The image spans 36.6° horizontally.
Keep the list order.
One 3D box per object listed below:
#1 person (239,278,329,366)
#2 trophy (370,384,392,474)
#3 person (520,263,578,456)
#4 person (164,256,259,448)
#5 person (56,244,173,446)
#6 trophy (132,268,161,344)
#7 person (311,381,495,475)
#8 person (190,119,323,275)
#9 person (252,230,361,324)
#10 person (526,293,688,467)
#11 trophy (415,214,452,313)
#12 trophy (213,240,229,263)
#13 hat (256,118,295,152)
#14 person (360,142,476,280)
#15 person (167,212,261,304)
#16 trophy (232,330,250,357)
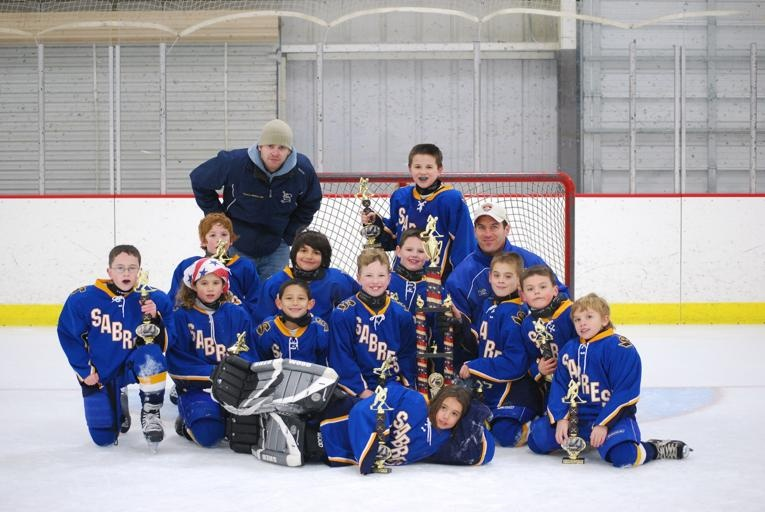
[{"bbox_3d":[-0.907,0.661,11.481,0.744,0.852,0.189,-1,2,-6],"label":"person"},{"bbox_3d":[-0.010,1.692,10.996,0.163,0.724,0.150,-1,2,-1],"label":"trophy"},{"bbox_3d":[1.646,1.029,11.594,0.583,1.754,0.484,1,-1,-11],"label":"person"},{"bbox_3d":[-1.722,0.954,11.848,0.876,1.864,0.864,1,-1,-7],"label":"person"},{"bbox_3d":[-2.625,0.902,11.531,0.845,2.093,0.958,-1,3,-40],"label":"person"},{"bbox_3d":[-2.333,0.501,11.495,0.224,0.711,0.347,-1,2,-12],"label":"trophy"},{"bbox_3d":[0.225,1.644,11.115,1.675,0.812,0.379,-1,2,-4],"label":"person"},{"bbox_3d":[-1.390,-0.690,12.969,1.119,2.310,0.877,0,2,-7],"label":"person"},{"bbox_3d":[-0.832,0.241,12.010,1.028,0.968,0.424,3,0,-16],"label":"person"},{"bbox_3d":[2.107,1.193,11.211,1.397,1.627,0.343,0,2,7],"label":"person"},{"bbox_3d":[0.518,0.090,11.674,0.313,0.944,0.307,1,1,-5],"label":"trophy"},{"bbox_3d":[-1.676,-0.048,11.993,0.154,0.204,0.140,33,-35,-24],"label":"trophy"},{"bbox_3d":[-1.182,-1.315,12.557,0.330,0.251,0.322,6,-1,-32],"label":"hat"},{"bbox_3d":[0.528,-0.529,12.629,0.734,1.971,0.738,0,2,-6],"label":"person"},{"bbox_3d":[-1.757,0.070,12.204,0.820,1.014,0.849,1,-4,-1],"label":"person"},{"bbox_3d":[-1.440,0.842,11.458,0.283,0.339,0.146,0,31,-7],"label":"trophy"}]
